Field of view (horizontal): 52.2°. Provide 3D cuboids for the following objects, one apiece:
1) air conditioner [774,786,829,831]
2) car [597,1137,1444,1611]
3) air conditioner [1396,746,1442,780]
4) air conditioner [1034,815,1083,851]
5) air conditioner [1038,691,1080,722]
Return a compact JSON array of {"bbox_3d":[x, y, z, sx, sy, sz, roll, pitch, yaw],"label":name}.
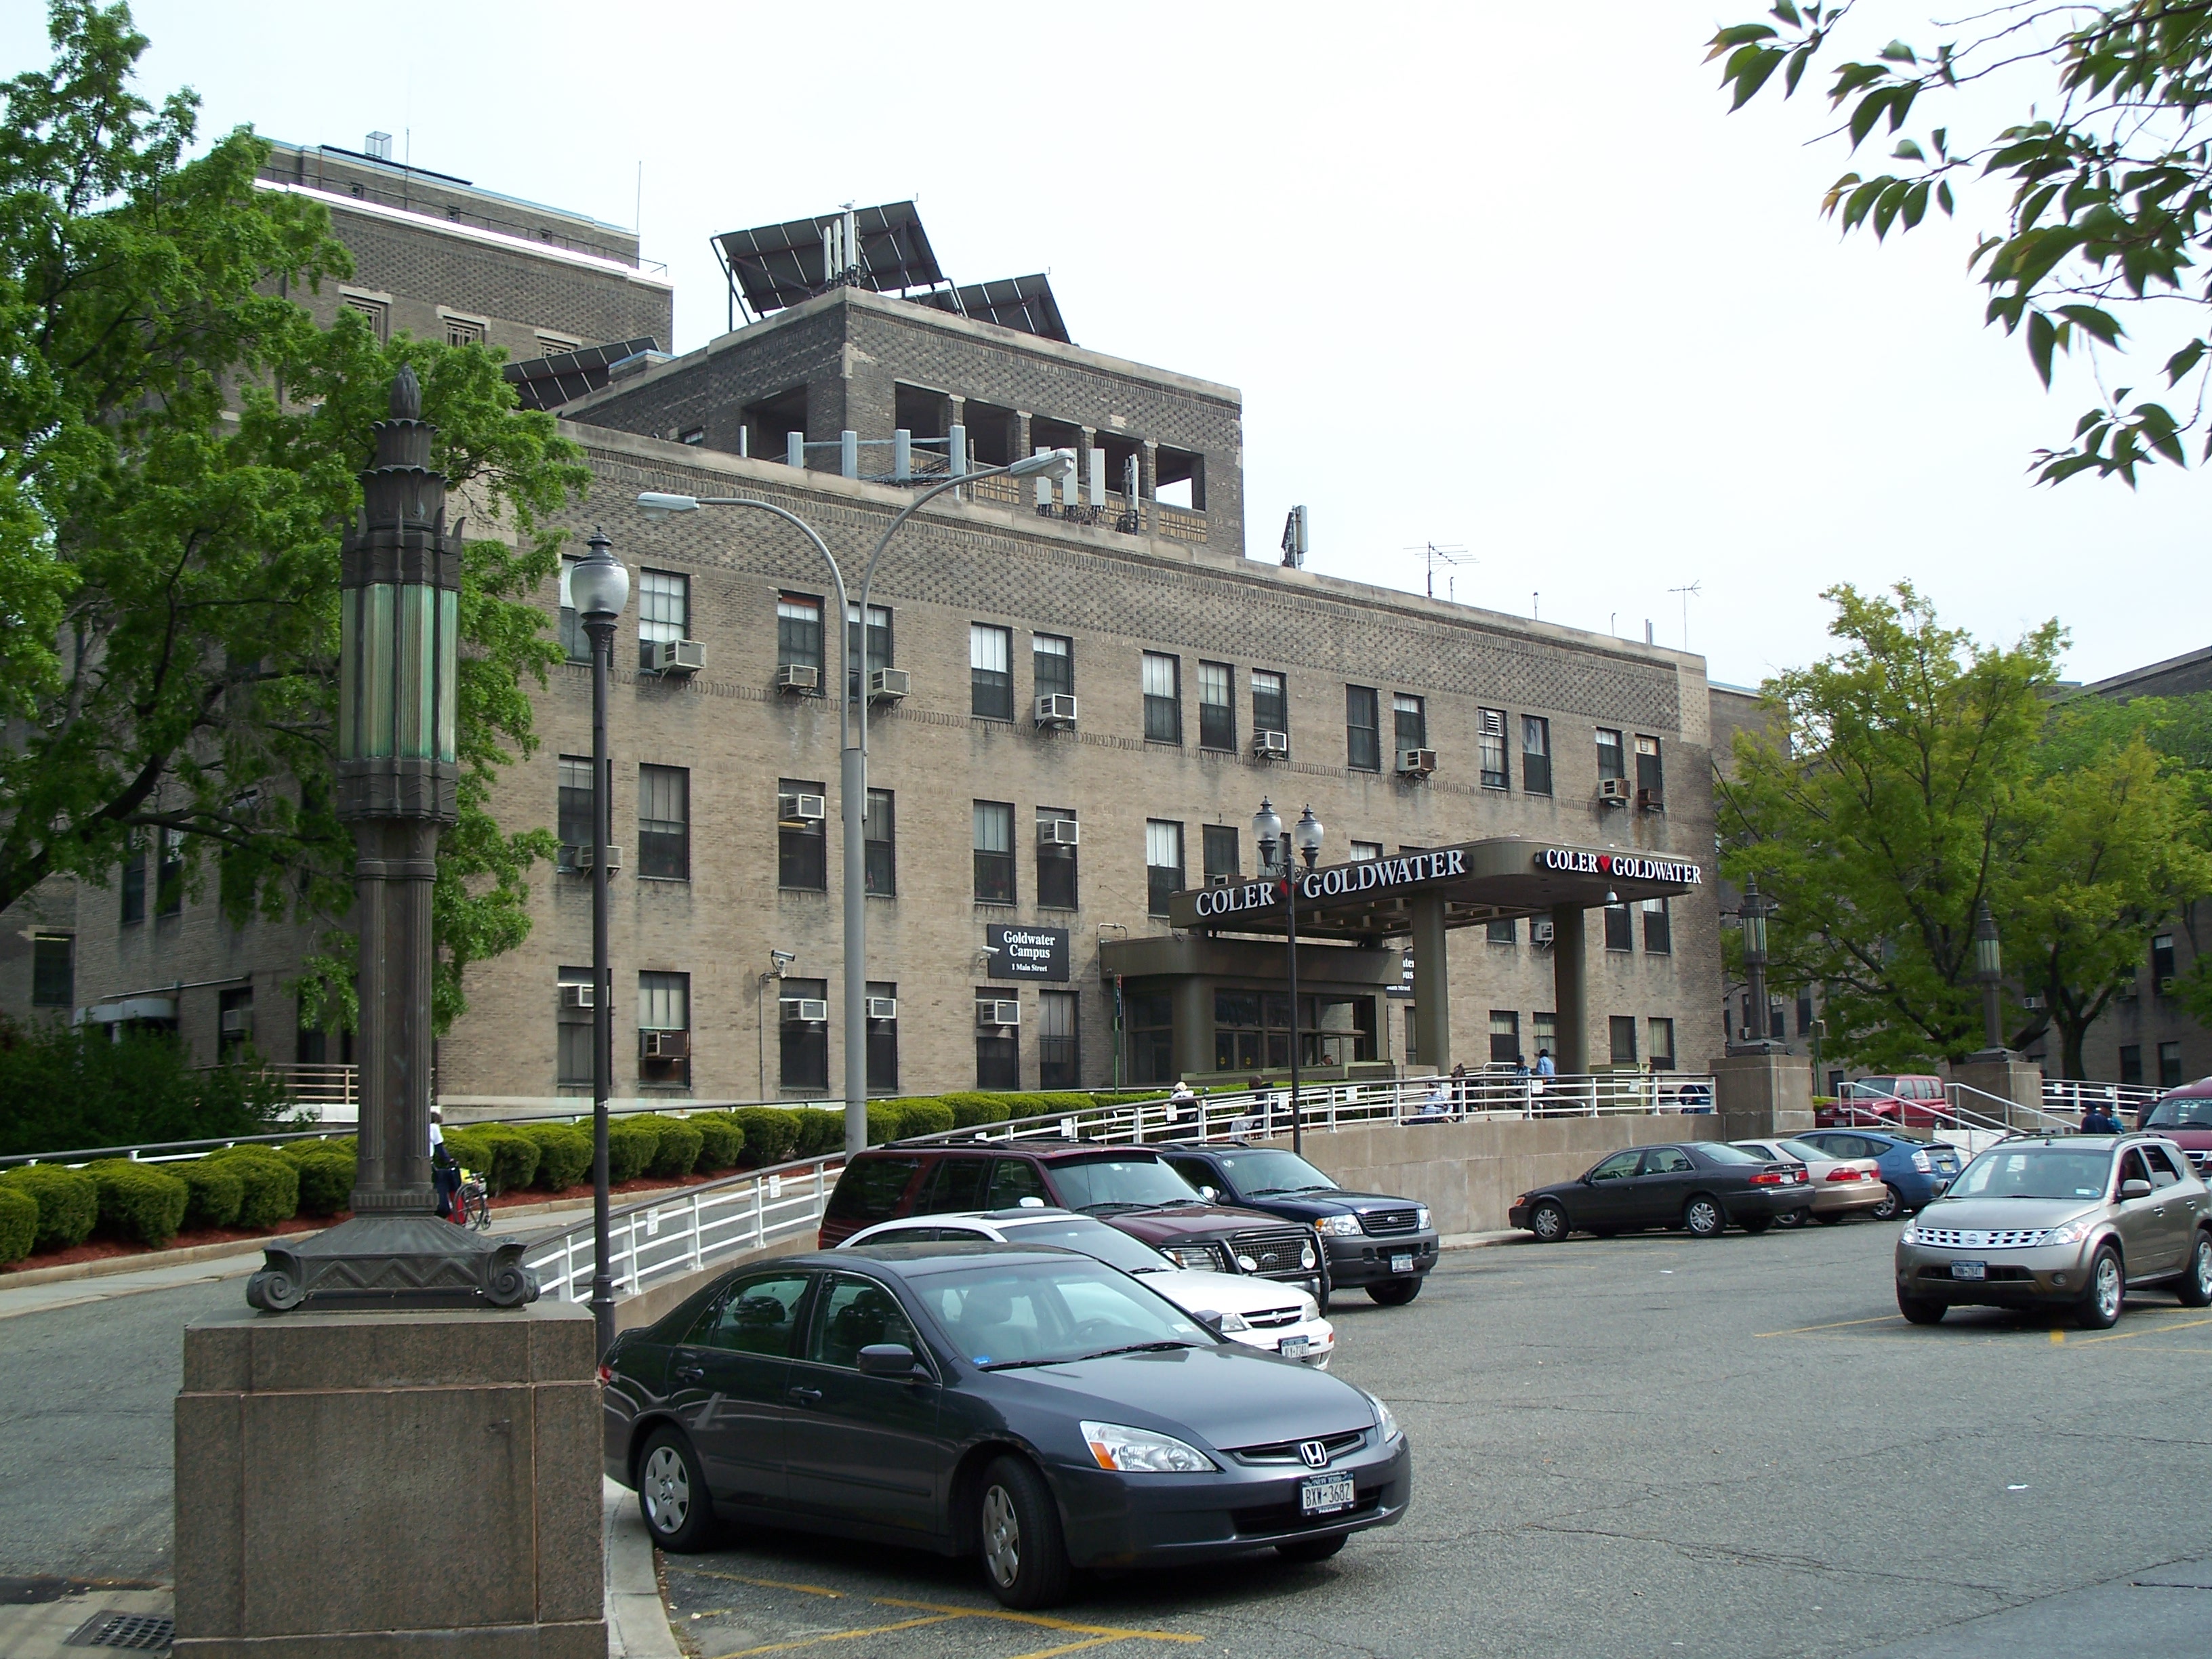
[{"bbox_3d":[-6.622,-0.453,49.022,0.952,0.831,0.649,5,-12,-24],"label":"air conditioner"},{"bbox_3d":[-0.769,3.307,13.140,3.995,1.182,2.101,-11,-14,43],"label":"car"},{"bbox_3d":[8.395,-1.960,60.761,1.314,1.008,0.762,3,-9,-40],"label":"air conditioner"},{"bbox_3d":[-1.079,0.051,52.955,0.658,0.778,1.249,-3,-4,38],"label":"air conditioner"},{"bbox_3d":[-1.164,-2.885,53.176,0.754,0.491,0.713,4,-8,-39],"label":"air conditioner"}]
